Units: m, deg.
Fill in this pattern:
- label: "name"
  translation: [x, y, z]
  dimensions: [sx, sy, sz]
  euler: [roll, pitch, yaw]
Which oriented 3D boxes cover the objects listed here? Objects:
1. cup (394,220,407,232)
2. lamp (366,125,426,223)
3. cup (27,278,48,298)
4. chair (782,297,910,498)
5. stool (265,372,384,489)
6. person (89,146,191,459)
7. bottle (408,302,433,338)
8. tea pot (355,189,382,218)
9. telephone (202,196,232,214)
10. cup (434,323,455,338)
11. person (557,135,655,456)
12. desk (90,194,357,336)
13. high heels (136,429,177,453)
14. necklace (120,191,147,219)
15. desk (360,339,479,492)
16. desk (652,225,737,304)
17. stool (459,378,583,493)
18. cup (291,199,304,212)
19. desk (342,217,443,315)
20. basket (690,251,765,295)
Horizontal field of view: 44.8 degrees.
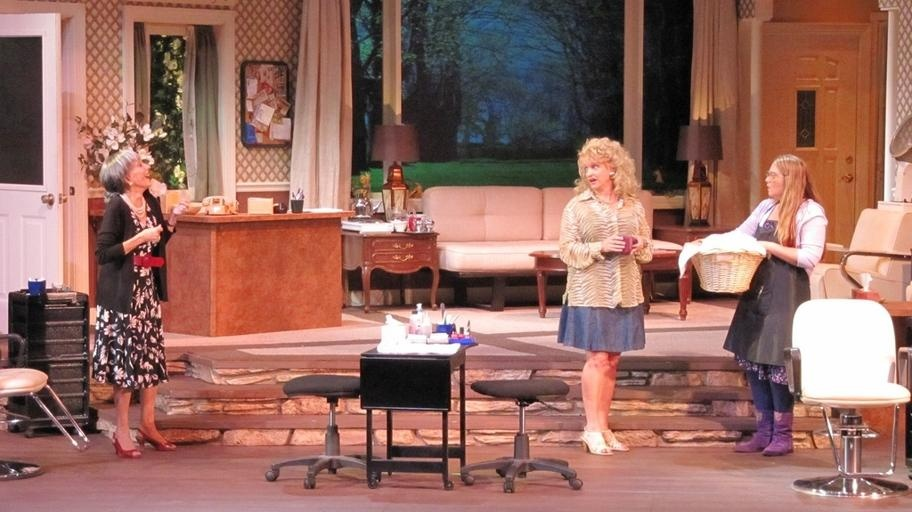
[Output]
- label: "cup"
  translation: [-0.647, -0.325, 12.294]
  dimensions: [0.135, 0.087, 0.125]
  euler: [1, 5, 0]
- label: "lamp"
  translation: [-0.711, -0.973, 12.729]
  dimensions: [0.529, 1.110, 0.870]
  euler: [-3, 7, -9]
- label: "cup"
  translation: [-3.785, 0.285, 9.965]
  dimensions: [0.214, 0.172, 0.197]
  euler: [0, 2, 0]
- label: "chair"
  translation: [3.106, 1.123, 8.849]
  dimensions: [0.978, 1.529, 0.556]
  euler: [-1, 7, 4]
- label: "stool"
  translation: [-1.114, 1.443, 9.255]
  dimensions: [0.953, 0.749, 0.898]
  euler: [1, -7, -6]
- label: "person"
  translation: [-2.762, 0.406, 9.428]
  dimensions: [0.720, 2.604, 0.435]
  euler: [-5, 8, -24]
- label: "bottle"
  translation: [-0.308, 0.515, 9.041]
  dimensions: [0.188, 0.242, 0.355]
  euler: [-2, 6, -2]
- label: "tea pot"
  translation: [-1.068, -0.573, 12.816]
  dimensions: [0.456, 0.389, 0.246]
  euler: [1, -2, -11]
- label: "telephone"
  translation: [-2.410, -0.502, 11.066]
  dimensions: [0.233, 0.100, 0.175]
  euler: [1, 5, 22]
- label: "cup"
  translation: [-0.110, 0.609, 9.005]
  dimensions: [0.149, 0.088, 0.102]
  euler: [-1, -1, 4]
- label: "person"
  translation: [1.238, 0.354, 9.405]
  dimensions: [0.786, 2.704, 0.445]
  euler: [-1, 7, 6]
- label: "desk"
  translation: [-2.307, 0.169, 11.528]
  dimensions: [1.852, 1.187, 1.416]
  euler: [-2, 3, -41]
- label: "high heels"
  translation: [-2.578, 1.624, 9.565]
  dimensions: [0.432, 0.150, 0.141]
  euler: [11, 6, 9]
- label: "necklace"
  translation: [-2.715, -0.430, 9.397]
  dimensions: [0.095, 0.210, 0.186]
  euler: [-27, 5, 31]
- label: "desk"
  translation: [-0.361, 1.253, 8.762]
  dimensions: [0.852, 1.063, 1.261]
  euler: [0, -2, 6]
- label: "desk"
  translation: [2.807, 0.084, 13.458]
  dimensions: [0.823, 0.852, 0.988]
  euler: [-2, 5, -8]
- label: "stool"
  translation: [0.505, 1.433, 9.092]
  dimensions: [1.002, 0.744, 0.927]
  euler: [2, -3, -40]
- label: "cup"
  translation: [-1.636, -0.513, 11.329]
  dimensions: [0.136, 0.089, 0.116]
  euler: [-1, 2, -10]
- label: "desk"
  translation: [-0.710, 0.116, 12.476]
  dimensions: [1.210, 0.908, 0.974]
  euler: [0, 1, -18]
- label: "basket"
  translation: [2.284, 0.130, 9.198]
  dimensions: [0.451, 0.192, 0.422]
  euler: [-2, 3, -29]
